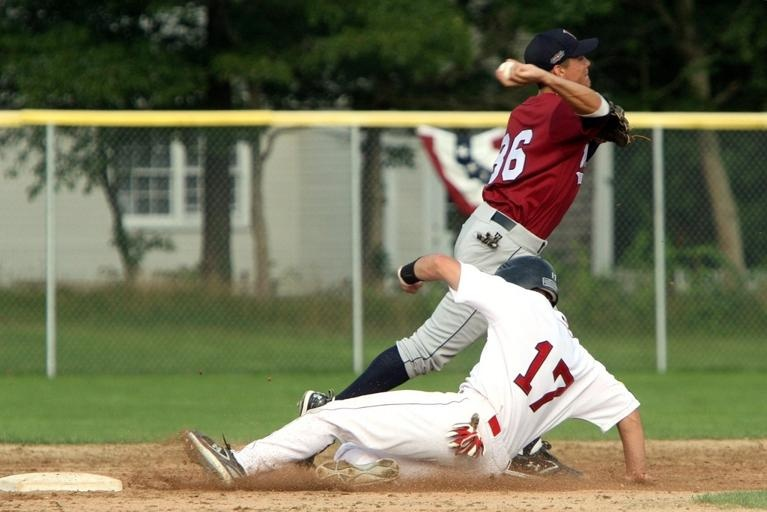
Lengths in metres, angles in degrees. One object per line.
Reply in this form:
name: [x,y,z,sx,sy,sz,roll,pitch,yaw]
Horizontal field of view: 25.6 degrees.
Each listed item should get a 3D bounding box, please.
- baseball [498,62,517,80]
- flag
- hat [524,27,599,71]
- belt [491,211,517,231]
baseball: [1.119,-1.703,15.793,0.104,0.159,0.171,-10,16,-39]
flag: [0.872,-0.961,18.840,1.128,1.018,0.096,1,27,5]
hat: [1.661,-1.968,16.155,0.557,0.245,0.381,-23,21,9]
belt: [1.125,-0.310,15.993,0.171,0.107,0.170,28,1,-28]
